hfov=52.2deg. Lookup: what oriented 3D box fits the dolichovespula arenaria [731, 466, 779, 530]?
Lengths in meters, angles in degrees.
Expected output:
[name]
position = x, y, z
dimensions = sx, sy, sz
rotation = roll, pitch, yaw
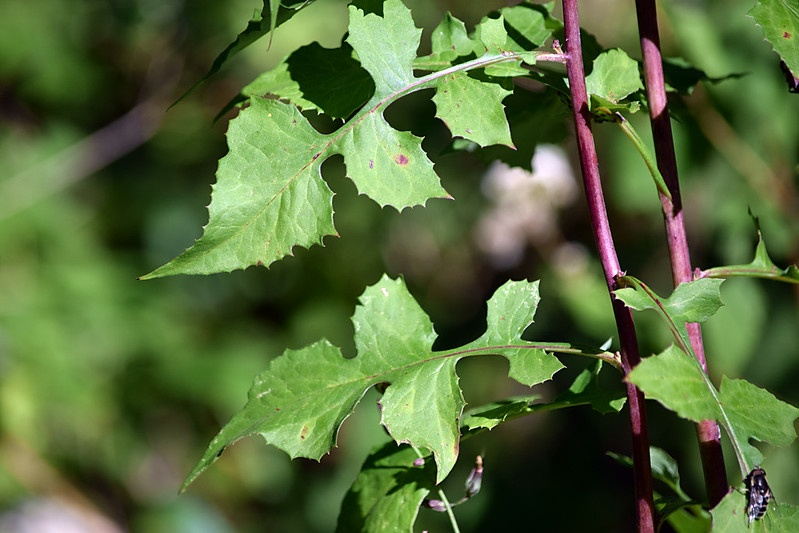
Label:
[dolichovespula arenaria]
position = 0.708, 0.449, 1.604
dimensions = 0.071, 0.112, 0.029
rotation = 6, -5, -37
